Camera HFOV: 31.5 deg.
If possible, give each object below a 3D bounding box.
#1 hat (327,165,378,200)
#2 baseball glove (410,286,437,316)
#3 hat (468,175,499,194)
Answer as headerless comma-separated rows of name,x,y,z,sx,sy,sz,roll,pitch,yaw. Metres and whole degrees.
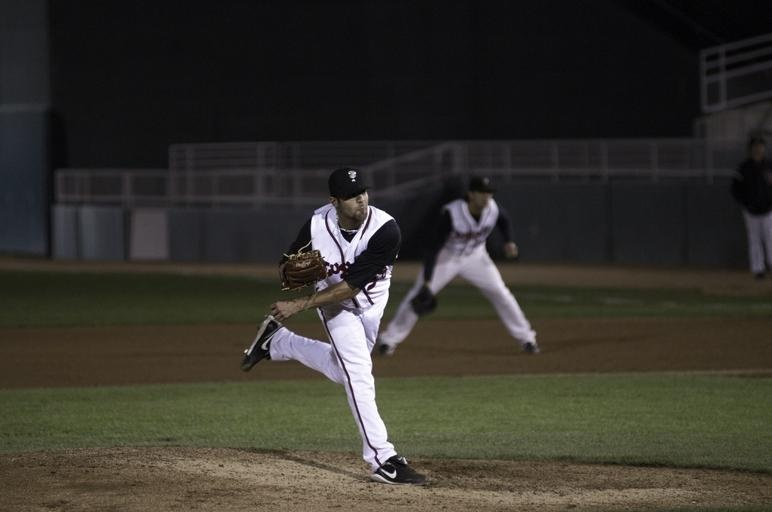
hat,-0.522,-0.993,18.541,0.397,0.272,0.514,-13,8,-28
baseball glove,0.601,0.618,21.645,0.388,0.397,0.461,-16,32,26
hat,1.483,-1.144,21.385,0.470,0.242,0.279,4,6,23
